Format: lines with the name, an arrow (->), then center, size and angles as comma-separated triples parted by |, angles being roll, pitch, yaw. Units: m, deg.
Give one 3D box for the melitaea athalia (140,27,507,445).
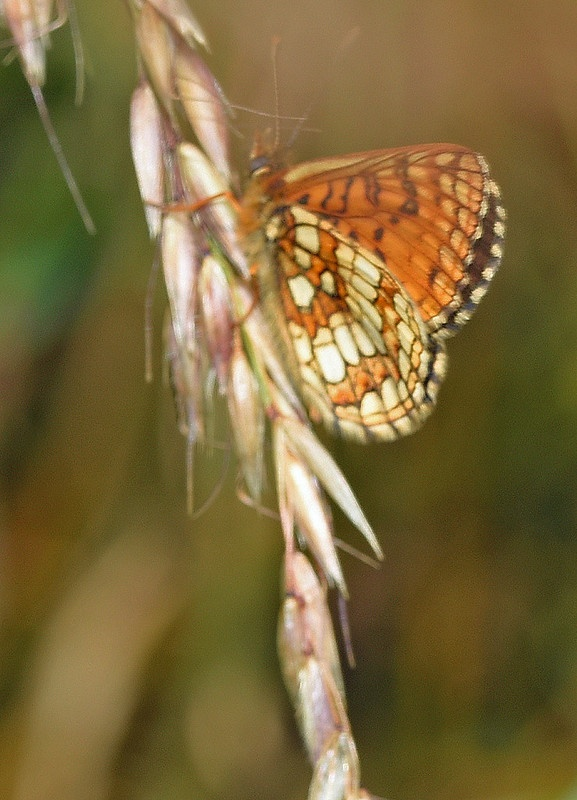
melitaea athalia -> 0.016, -0.102, 0.691 | 0.178, 0.233, 0.359 | -27, 21, -23
